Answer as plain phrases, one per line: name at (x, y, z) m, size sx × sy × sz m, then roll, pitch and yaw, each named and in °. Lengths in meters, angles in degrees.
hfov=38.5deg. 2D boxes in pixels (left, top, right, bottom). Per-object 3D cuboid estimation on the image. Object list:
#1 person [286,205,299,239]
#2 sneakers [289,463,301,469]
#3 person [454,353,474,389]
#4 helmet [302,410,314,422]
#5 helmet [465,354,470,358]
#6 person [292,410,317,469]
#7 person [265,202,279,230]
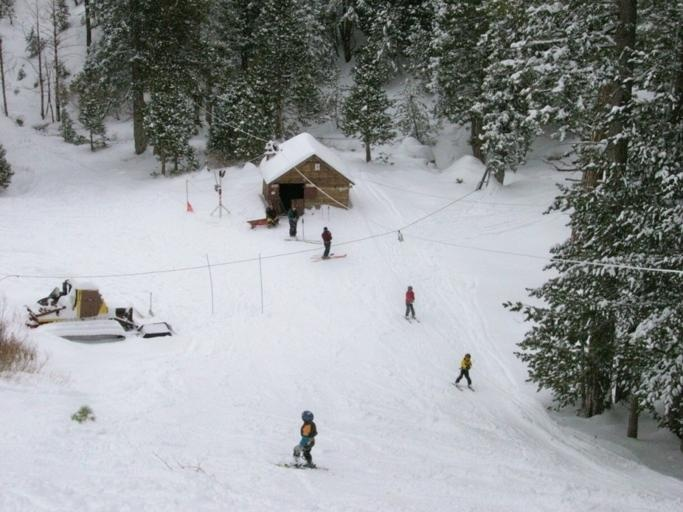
person at (-2.898, -1.998, 58.967) m, size 0.506 × 1.629 × 1.281 m, roll -4°, pitch 14°, yaw -1°
sneakers at (-1.981, 9.020, 42.395) m, size 0.248 × 0.263 × 0.125 m, roll 0°, pitch 54°, yaw 4°
person at (6.287, 5.890, 49.779) m, size 0.780 × 2.015 × 1.297 m, roll -8°, pitch 25°, yaw -17°
helmet at (-1.449, 6.857, 42.260) m, size 0.445 × 0.422 × 0.340 m, roll 13°, pitch 14°, yaw 27°
helmet at (6.447, 5.021, 49.416) m, size 0.218 × 0.117 × 0.319 m, roll 2°, pitch 1°, yaw 0°
person at (-1.618, 7.776, 42.804) m, size 1.027 × 2.480 × 1.301 m, roll -4°, pitch 13°, yaw -3°
person at (-4.247, -2.466, 60.131) m, size 0.749 × 1.215 × 1.424 m, roll -3°, pitch 14°, yaw 2°
